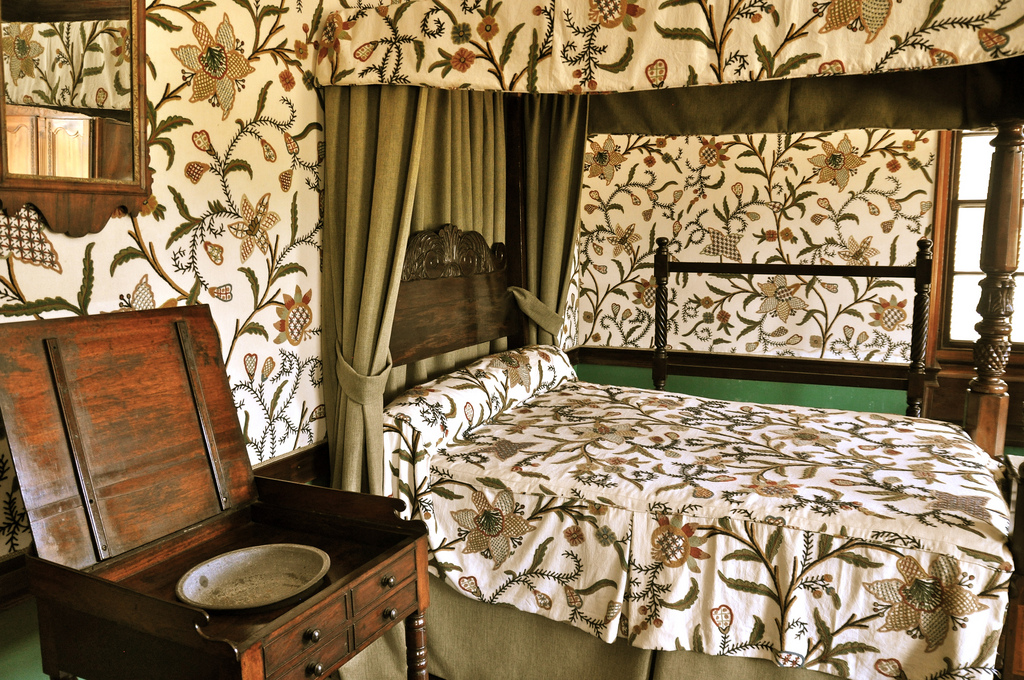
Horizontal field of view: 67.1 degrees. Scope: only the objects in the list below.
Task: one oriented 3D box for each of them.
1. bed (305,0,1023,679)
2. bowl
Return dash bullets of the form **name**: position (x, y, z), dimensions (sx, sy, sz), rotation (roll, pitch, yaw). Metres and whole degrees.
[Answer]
- **bed**: position (0.583, -0.021, 2.806), dimensions (1.609, 2.024, 2.074), rotation (2, 8, 23)
- **bowl**: position (-0.609, 0.588, 1.838), dimensions (0.362, 0.072, 0.362), rotation (-2, 8, 0)
